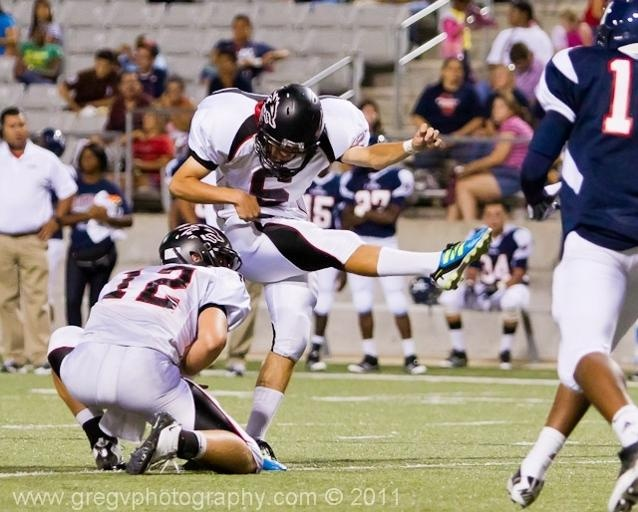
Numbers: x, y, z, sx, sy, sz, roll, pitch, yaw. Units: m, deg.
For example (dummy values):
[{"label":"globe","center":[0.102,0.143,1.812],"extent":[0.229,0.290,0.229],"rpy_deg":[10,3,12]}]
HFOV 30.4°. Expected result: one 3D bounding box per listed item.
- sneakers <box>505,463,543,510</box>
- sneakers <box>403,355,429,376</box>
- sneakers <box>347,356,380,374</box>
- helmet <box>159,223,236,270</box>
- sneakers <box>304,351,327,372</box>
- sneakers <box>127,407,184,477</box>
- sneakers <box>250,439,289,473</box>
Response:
[{"label":"sneakers","center":[0.866,0.962,4.953],"extent":[0.079,0.121,0.162],"rpy_deg":[26,-47,-23]},{"label":"sneakers","center":[0.803,0.906,9.810],"extent":[0.086,0.117,0.258],"rpy_deg":[-1,-7,-17]},{"label":"sneakers","center":[0.336,0.923,9.986],"extent":[0.329,0.161,0.112],"rpy_deg":[1,1,-16]},{"label":"helmet","center":[-0.587,-0.042,5.779],"extent":[0.287,0.229,0.220],"rpy_deg":[8,-12,-12]},{"label":"sneakers","center":[-0.008,0.919,10.133],"extent":[0.090,0.178,0.262],"rpy_deg":[3,-13,-19]},{"label":"sneakers","center":[-0.740,0.845,5.288],"extent":[0.158,0.382,0.139],"rpy_deg":[15,31,-29]},{"label":"sneakers","center":[-0.246,0.976,5.746],"extent":[0.075,0.098,0.228],"rpy_deg":[-4,-13,29]}]
